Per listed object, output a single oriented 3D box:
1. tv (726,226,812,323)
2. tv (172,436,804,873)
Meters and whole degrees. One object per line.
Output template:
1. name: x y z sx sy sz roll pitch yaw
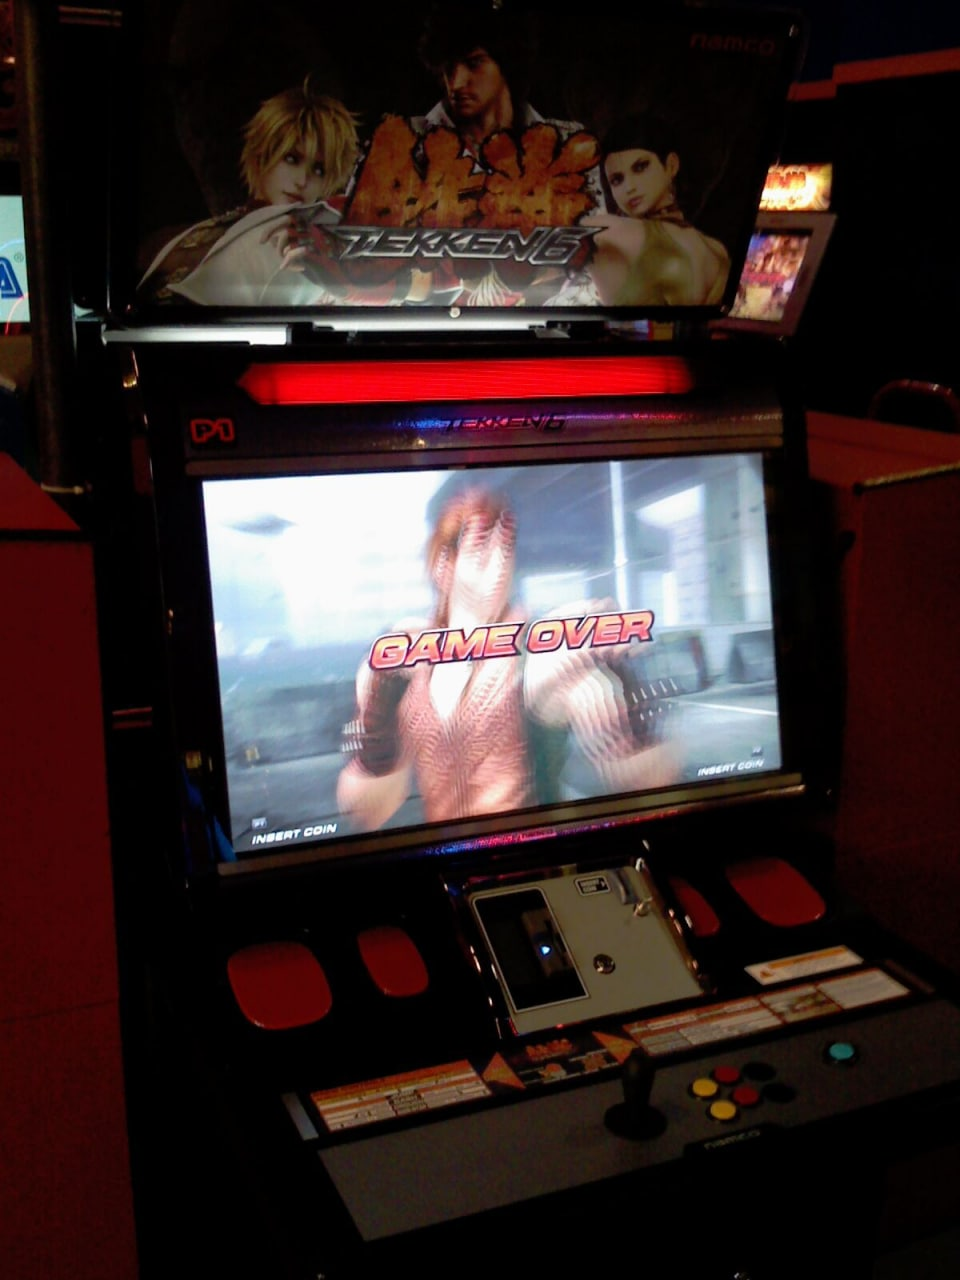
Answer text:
1. tv: 0.455 -0.578 1.565 0.013 0.166 0.138 0 26 -34
2. tv: -0.018 0.019 1.374 0.647 0.373 0.007 -7 2 -19
